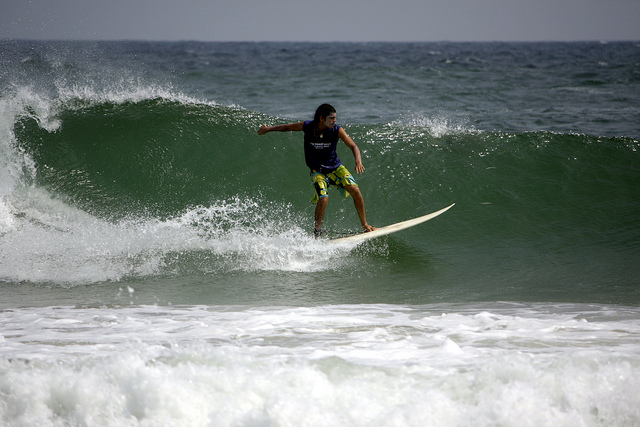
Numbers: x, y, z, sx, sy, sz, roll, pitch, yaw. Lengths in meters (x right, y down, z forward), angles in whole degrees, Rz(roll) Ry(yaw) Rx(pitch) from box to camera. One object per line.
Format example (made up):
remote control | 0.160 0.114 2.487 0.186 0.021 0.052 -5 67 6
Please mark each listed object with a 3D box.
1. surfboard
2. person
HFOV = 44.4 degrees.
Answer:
surfboard | 1.213 0.218 12.989 2.503 0.160 0.263 -13 9 -23
person | 0.163 -0.679 12.428 1.250 2.108 0.700 -6 19 7
